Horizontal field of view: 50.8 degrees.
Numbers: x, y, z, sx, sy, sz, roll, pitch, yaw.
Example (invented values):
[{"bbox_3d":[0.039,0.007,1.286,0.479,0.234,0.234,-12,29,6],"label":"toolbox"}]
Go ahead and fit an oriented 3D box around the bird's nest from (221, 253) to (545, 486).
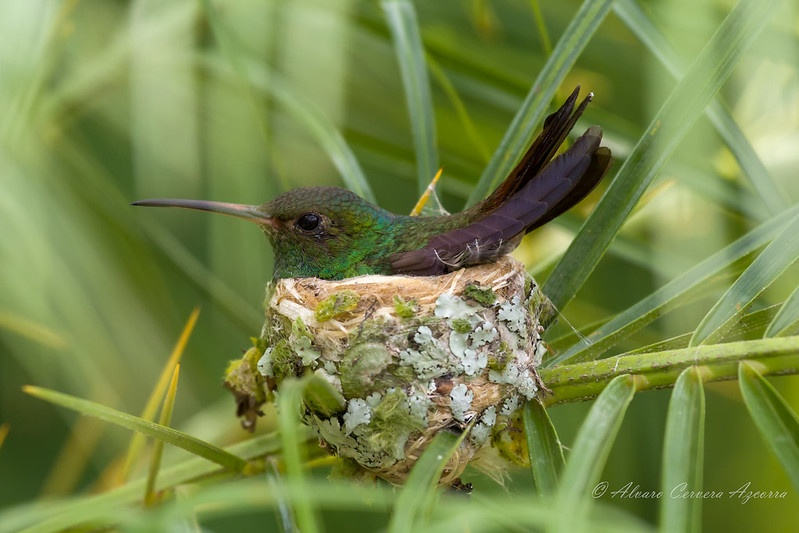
[{"bbox_3d":[-0.023,0.292,2.717,0.792,0.548,0.684,-5,-8,-9],"label":"bird's nest"}]
